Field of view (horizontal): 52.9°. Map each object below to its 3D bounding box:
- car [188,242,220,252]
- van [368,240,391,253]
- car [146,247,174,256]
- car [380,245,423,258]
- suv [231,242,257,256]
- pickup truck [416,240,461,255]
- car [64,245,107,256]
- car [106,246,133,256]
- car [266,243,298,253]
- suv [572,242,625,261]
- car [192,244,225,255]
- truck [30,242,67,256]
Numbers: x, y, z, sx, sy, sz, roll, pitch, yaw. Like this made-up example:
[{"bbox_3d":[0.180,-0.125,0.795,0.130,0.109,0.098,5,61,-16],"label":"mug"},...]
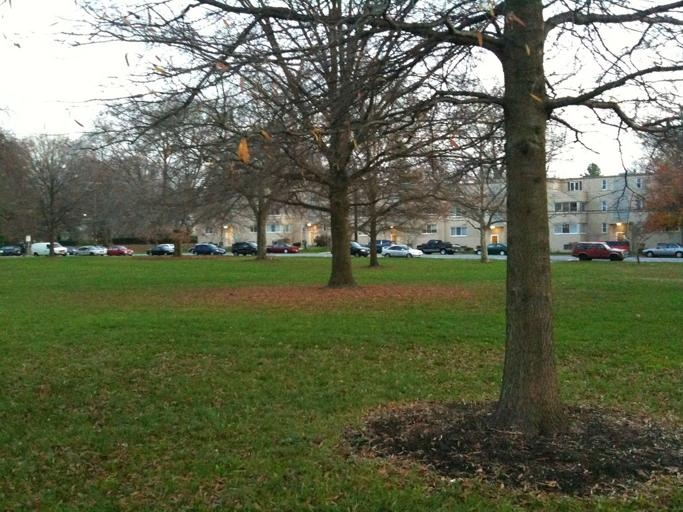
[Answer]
[{"bbox_3d":[-12.333,-0.663,62.326,2.498,0.793,1.176,-2,2,17],"label":"car"},{"bbox_3d":[4.355,-1.018,69.694,1.358,0.962,2.685,-1,-3,5],"label":"van"},{"bbox_3d":[-16.940,-0.345,64.417,2.058,0.605,1.243,1,1,0],"label":"car"},{"bbox_3d":[4.752,-0.272,54.115,2.481,0.771,1.258,-2,-1,31],"label":"car"},{"bbox_3d":[-8.335,-0.588,59.388,2.983,1.105,1.361,-4,1,32],"label":"suv"},{"bbox_3d":[8.810,-0.744,62.618,2.953,0.974,1.456,1,3,43],"label":"pickup truck"},{"bbox_3d":[-24.684,-0.483,66.479,2.667,0.675,1.381,-1,3,2],"label":"car"},{"bbox_3d":[-20.708,-0.389,63.544,2.203,0.592,1.316,0,3,14],"label":"car"},{"bbox_3d":[-5.600,-0.649,64.752,2.606,0.778,1.161,3,3,14],"label":"car"},{"bbox_3d":[16.550,-0.230,44.365,2.944,1.244,1.419,-2,0,40],"label":"suv"},{"bbox_3d":[-12.067,-0.503,62.253,2.677,0.837,1.236,-3,2,16],"label":"car"},{"bbox_3d":[-27.415,-0.631,63.982,3.449,1.274,1.722,0,2,7],"label":"truck"}]
